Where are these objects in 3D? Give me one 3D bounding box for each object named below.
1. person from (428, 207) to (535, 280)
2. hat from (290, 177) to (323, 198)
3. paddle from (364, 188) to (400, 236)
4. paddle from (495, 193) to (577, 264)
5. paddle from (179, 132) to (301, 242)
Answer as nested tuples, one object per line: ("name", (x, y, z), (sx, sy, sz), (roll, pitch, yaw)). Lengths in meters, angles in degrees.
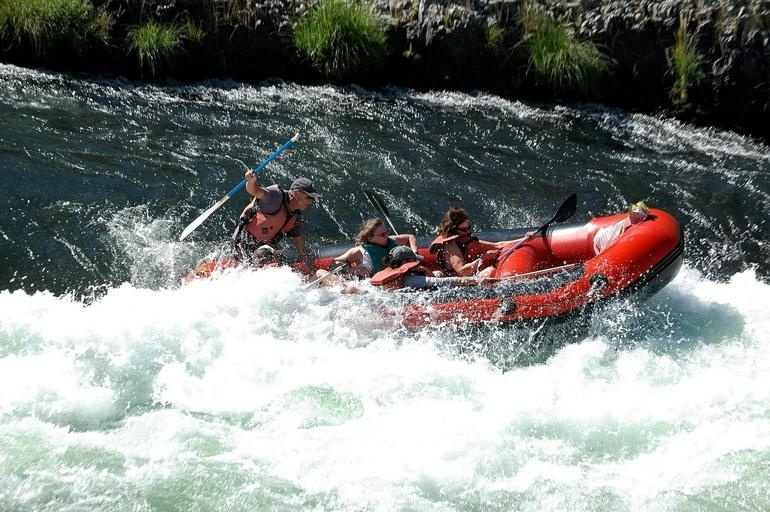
("person", (1.288, -0.271, 10.247), (1.219, 0.910, 0.760), (-5, 28, 10))
("hat", (-1.034, -0.914, 10.180), (0.400, 0.205, 0.269), (10, 9, -18))
("paddle", (-0.011, -0.681, 11.591), (0.264, 0.053, 1.220), (35, -11, 32))
("paddle", (2.158, -0.370, 10.877), (0.241, 1.605, 0.177), (55, 13, 10))
("paddle", (-2.220, -0.999, 11.462), (0.206, 2.593, 0.198), (51, -7, -15))
